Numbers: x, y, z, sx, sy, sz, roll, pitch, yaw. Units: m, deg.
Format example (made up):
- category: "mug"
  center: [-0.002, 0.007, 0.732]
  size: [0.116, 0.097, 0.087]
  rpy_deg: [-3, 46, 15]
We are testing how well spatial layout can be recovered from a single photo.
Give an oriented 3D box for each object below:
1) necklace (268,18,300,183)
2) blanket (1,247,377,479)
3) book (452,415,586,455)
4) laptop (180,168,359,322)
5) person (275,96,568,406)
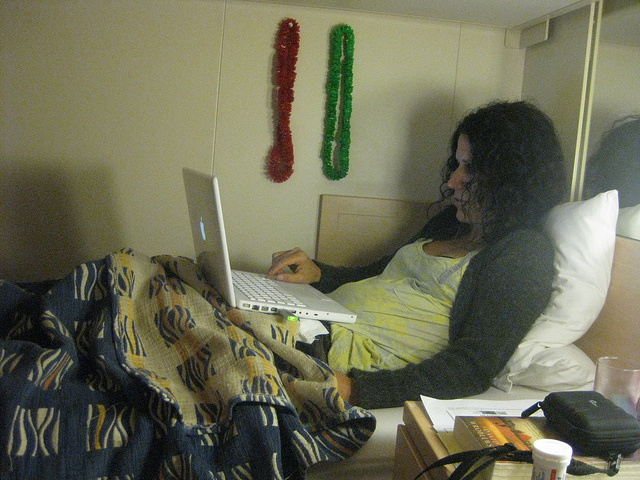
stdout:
- category: "necklace"
  center: [-0.156, -0.586, 2.226]
  size: [0.118, 0.678, 0.060]
  rpy_deg: [1, 10, -2]
- category: "blanket"
  center: [-0.328, 0.303, 1.314]
  size: [0.855, 0.430, 0.598]
  rpy_deg: [3, 10, 5]
- category: "book"
  center: [0.355, 0.371, 1.015]
  size: [0.105, 0.025, 0.099]
  rpy_deg: [1, 9, -8]
- category: "laptop"
  center: [-0.183, 0.000, 1.624]
  size: [0.447, 0.430, 0.435]
  rpy_deg: [-3, 11, -23]
- category: "person"
  center: [0.367, 0.076, 1.807]
  size: [0.884, 0.831, 1.145]
  rpy_deg: [11, 8, -5]
